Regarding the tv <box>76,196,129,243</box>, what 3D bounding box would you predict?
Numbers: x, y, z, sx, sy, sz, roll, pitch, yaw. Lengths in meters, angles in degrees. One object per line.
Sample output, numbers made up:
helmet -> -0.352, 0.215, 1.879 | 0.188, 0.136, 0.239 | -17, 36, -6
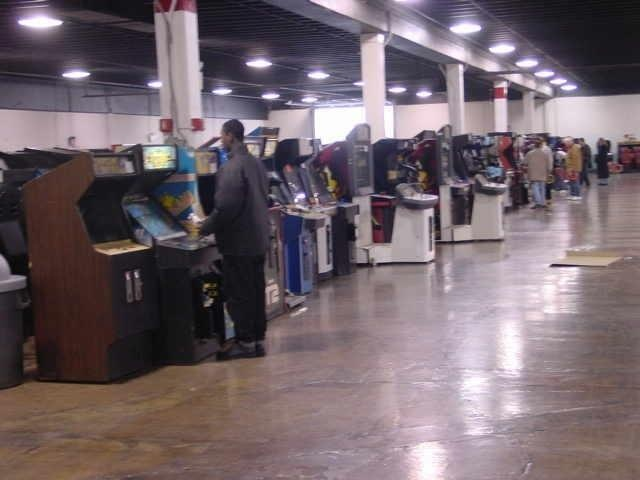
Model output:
tv -> -1.634, -0.161, 4.609 | 0.087, 0.316, 0.382 | -28, -13, 41

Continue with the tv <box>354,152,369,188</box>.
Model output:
tv -> 0.628, -1.020, 8.746 | 0.100, 0.538, 0.621 | -1, 9, 18

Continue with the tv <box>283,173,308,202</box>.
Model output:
tv -> -0.341, -0.717, 8.136 | 0.195, 0.061, 0.767 | 2, 45, -24

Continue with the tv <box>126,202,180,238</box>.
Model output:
tv -> -1.320, -0.164, 4.877 | 0.320, 0.287, 0.374 | 0, 9, 19

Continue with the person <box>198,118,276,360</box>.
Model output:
person -> -0.610, 0.131, 4.839 | 0.604, 1.614, 0.216 | -9, 10, -29
